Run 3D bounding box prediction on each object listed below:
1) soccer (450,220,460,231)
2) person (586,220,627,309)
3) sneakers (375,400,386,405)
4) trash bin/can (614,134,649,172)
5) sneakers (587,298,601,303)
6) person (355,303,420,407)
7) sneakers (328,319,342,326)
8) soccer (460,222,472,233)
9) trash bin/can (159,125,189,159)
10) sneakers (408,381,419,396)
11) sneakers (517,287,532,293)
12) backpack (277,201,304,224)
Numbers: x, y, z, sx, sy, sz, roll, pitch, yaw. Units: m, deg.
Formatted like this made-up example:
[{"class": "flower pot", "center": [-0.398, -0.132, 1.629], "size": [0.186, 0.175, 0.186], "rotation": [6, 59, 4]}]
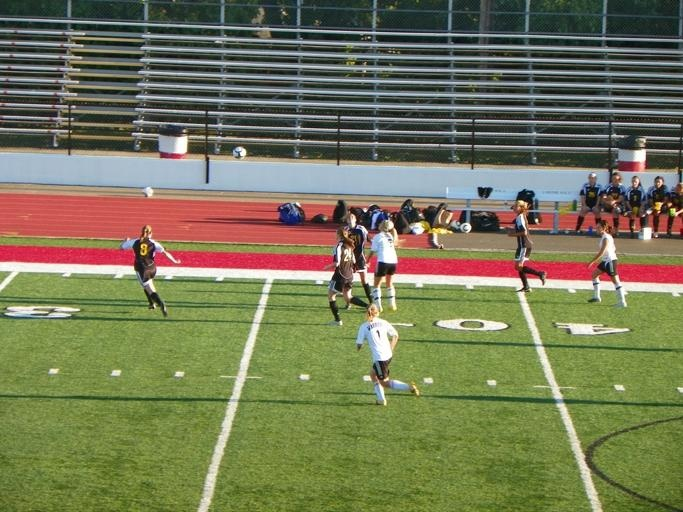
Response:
[{"class": "soccer", "center": [2.659, -0.708, 26.346], "size": [0.335, 0.343, 0.212], "rotation": [0, -5, 0]}, {"class": "person", "center": [4.982, 0.039, 20.714], "size": [0.680, 1.564, 1.519], "rotation": [5, 11, 12]}, {"class": "sneakers", "center": [0.563, 2.122, 16.091], "size": [0.064, 0.054, 0.137], "rotation": [-7, 13, -27]}, {"class": "trash bin/can", "center": [7.845, -2.758, 30.308], "size": [0.713, 0.942, 0.431], "rotation": [5, 12, 16]}, {"class": "sneakers", "center": [4.605, 0.839, 20.430], "size": [0.235, 0.085, 0.083], "rotation": [-3, 13, 4]}, {"class": "person", "center": [0.644, 1.415, 16.024], "size": [0.853, 1.493, 0.479], "rotation": [3, 11, 2]}, {"class": "sneakers", "center": [-0.118, 1.152, 18.912], "size": [0.216, 0.070, 0.082], "rotation": [2, 5, 8]}, {"class": "soccer", "center": [2.896, -0.659, 26.233], "size": [0.264, 0.241, 0.199], "rotation": [1, 11, -3]}, {"class": "trash bin/can", "center": [-4.738, -3.199, 31.265], "size": [1.029, 0.832, 0.923], "rotation": [0, 4, -2]}, {"class": "sneakers", "center": [1.044, 1.932, 16.118], "size": [0.105, 0.117, 0.272], "rotation": [8, -25, 45]}, {"class": "sneakers", "center": [3.428, 0.648, 21.001], "size": [0.281, 0.097, 0.093], "rotation": [0, 13, 12]}, {"class": "backpack", "center": [-1.222, -1.015, 26.877], "size": [0.607, 0.499, 0.390], "rotation": [2, 11, 1]}]
